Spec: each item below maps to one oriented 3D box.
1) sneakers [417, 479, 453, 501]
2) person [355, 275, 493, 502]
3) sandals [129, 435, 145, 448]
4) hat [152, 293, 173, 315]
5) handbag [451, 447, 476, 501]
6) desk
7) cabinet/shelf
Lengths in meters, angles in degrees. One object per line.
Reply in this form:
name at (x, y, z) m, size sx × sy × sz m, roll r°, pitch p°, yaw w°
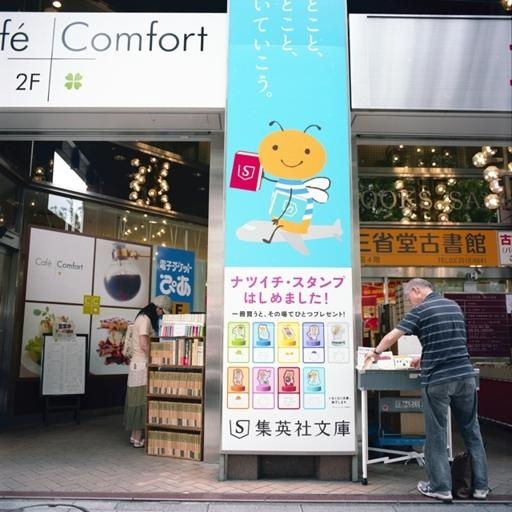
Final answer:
sneakers at (1.350, 1.791, 3.657) m, size 0.091 × 0.087 × 0.243 m, roll 11°, pitch -5°, yaw -35°
person at (1.374, 1.006, 3.778) m, size 0.793 × 1.673 × 0.369 m, roll -2°, pitch -12°, yaw 8°
sandals at (-1.353, 2.114, 5.523) m, size 0.130 × 0.087 × 0.233 m, roll 2°, pitch -6°, yaw -4°
hat at (-1.085, 0.599, 5.839) m, size 0.244 × 0.146 × 0.181 m, roll 32°, pitch 1°, yaw -28°
handbag at (1.564, 1.663, 3.630) m, size 0.160 × 0.331 × 0.269 m, roll 9°, pitch -19°, yaw 8°
desk at (1.356, 1.427, 4.212) m, size 0.950 × 0.806 × 0.750 m, roll -1°, pitch -16°, yaw 3°
cabinet/shelf at (-0.843, 1.479, 5.083) m, size 0.863 × 1.220 × 0.266 m, roll -11°, pitch -16°, yaw 43°
